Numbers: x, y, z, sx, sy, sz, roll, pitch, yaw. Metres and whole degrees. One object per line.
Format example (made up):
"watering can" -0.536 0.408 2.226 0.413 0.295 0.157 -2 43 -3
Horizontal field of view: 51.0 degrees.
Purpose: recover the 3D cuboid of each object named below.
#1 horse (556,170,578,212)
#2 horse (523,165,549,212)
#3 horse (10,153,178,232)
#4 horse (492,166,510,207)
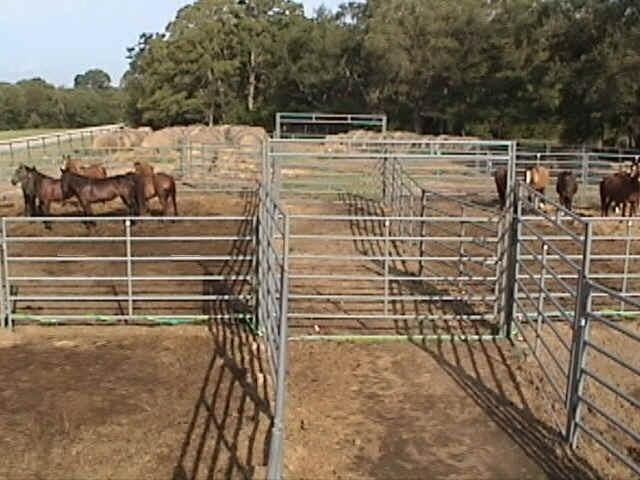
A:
"horse" 6.601 -1.307 17.977 0.502 1.163 1.707 1 11 19
"horse" 5.906 -1.515 18.391 0.427 1.104 1.798 15 10 33
"horse" -5.601 -1.204 16.265 3.635 1.456 2.801 0 11 13
"horse" 4.582 -1.354 16.930 0.266 0.879 1.230 -15 6 20
